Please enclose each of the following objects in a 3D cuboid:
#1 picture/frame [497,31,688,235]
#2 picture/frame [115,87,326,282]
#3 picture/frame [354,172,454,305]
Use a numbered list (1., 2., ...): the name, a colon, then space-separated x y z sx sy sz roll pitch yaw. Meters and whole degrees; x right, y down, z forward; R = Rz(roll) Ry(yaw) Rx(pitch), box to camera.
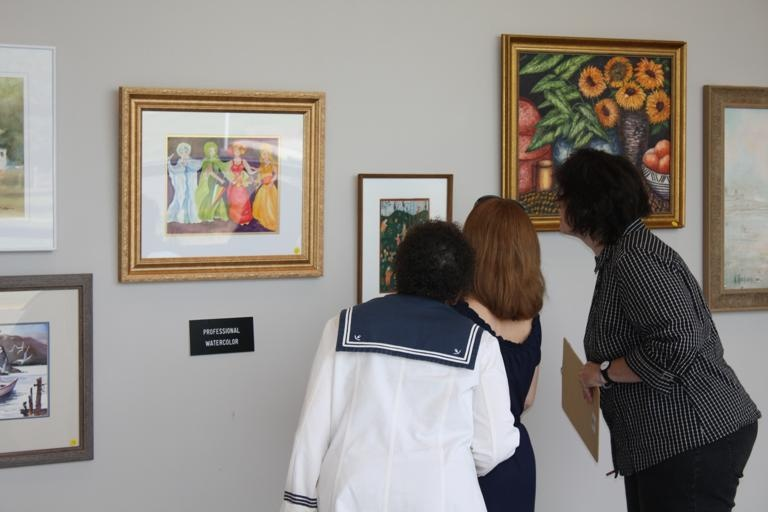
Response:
1. picture/frame: 1.013 -0.651 3.362 0.995 1.050 0.086 0 2 -6
2. picture/frame: -0.851 -0.378 3.287 0.883 0.899 0.077 1 0 -14
3. picture/frame: 0.065 -0.071 3.084 0.584 0.872 0.032 3 -3 -16
